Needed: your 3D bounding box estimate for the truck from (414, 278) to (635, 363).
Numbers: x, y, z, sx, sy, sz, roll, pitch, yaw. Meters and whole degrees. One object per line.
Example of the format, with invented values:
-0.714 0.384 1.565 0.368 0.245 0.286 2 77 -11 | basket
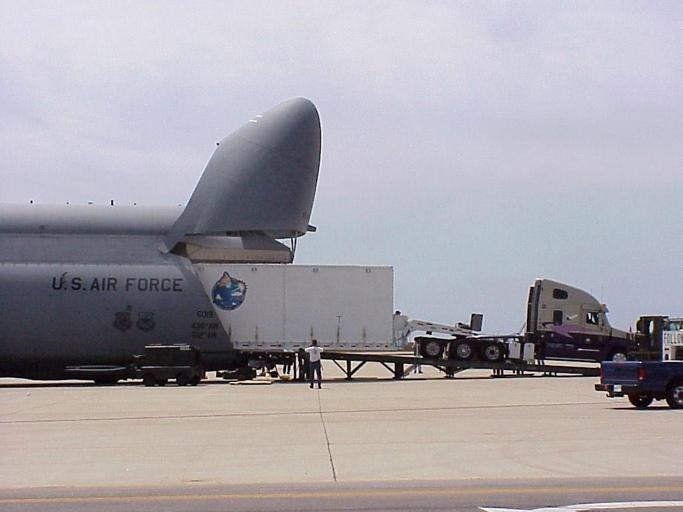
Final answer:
8.034 2.699 50.503 7.721 3.558 2.244 4 -9 -25 | truck
